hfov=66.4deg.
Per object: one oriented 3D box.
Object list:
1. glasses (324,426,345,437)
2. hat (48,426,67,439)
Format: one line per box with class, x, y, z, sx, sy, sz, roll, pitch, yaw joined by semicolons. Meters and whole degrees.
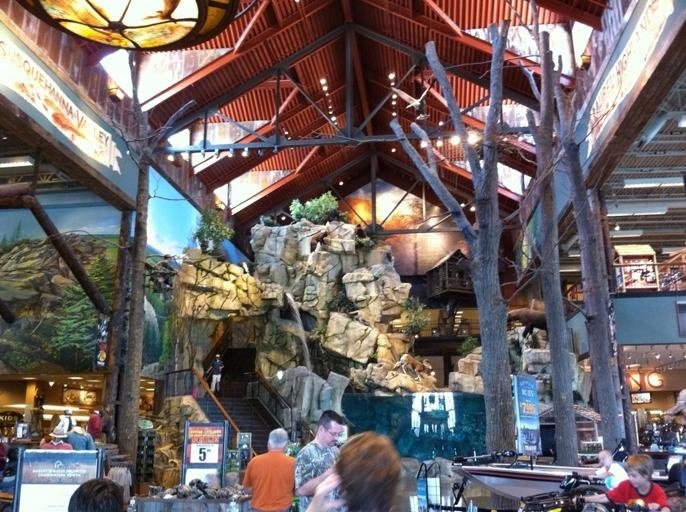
glasses;-0.090;1.617;4.873;0.185;0.065;0.184;-13;-19;37
hat;-4.615;2.847;8.450;0.296;0.099;0.311;-1;-5;11
